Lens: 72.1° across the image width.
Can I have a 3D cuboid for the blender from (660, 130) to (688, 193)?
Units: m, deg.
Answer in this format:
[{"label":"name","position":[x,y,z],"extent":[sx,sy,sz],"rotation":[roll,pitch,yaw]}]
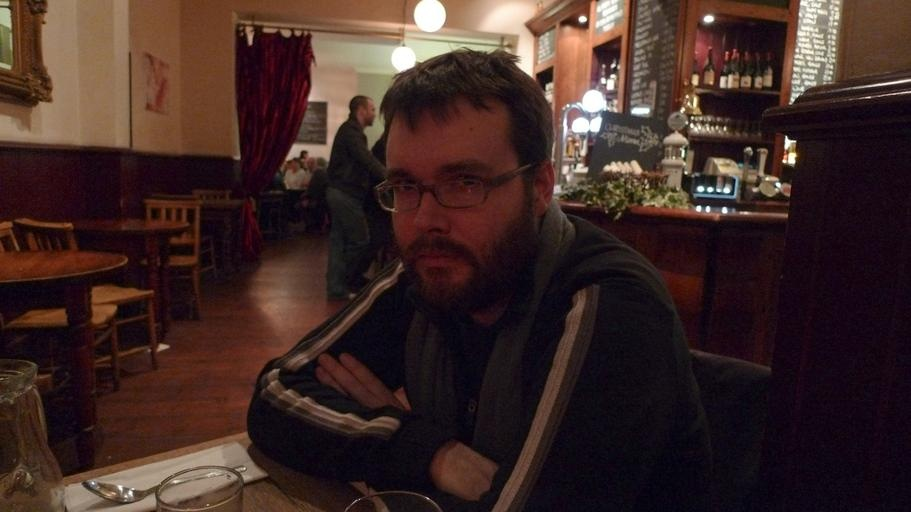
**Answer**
[{"label":"blender","position":[1.623,-0.707,4.707],"extent":[0.189,0.411,0.186],"rotation":[6,11,20]}]
